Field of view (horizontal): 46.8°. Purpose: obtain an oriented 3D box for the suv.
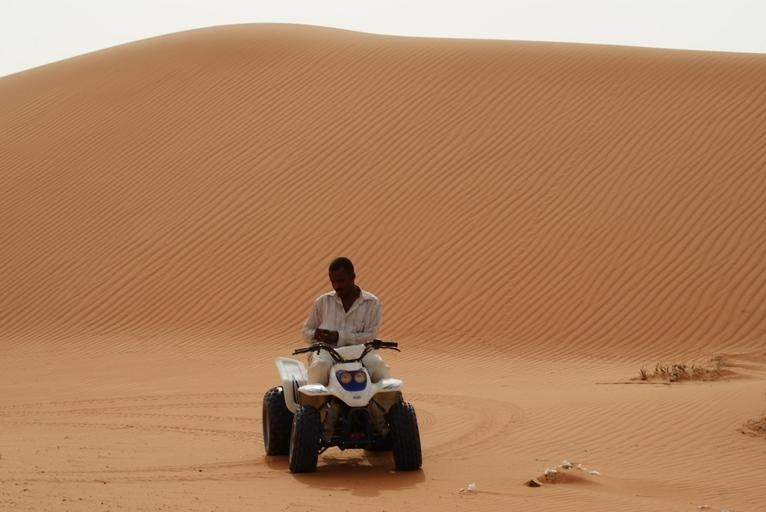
[{"bbox_3d":[-0.446,1.993,13.226,2.239,1.255,2.588,-3,8,-5],"label":"suv"}]
